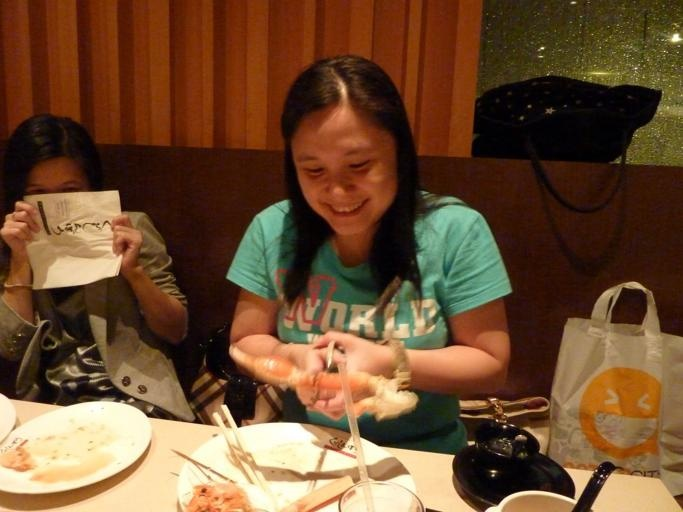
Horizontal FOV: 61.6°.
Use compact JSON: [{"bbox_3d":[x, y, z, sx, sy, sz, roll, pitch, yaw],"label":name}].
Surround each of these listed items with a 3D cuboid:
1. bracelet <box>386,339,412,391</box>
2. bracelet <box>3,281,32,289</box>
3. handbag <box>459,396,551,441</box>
[{"bbox_3d":[0.162,0.317,1.593,0.073,0.129,0.126,2,15,5],"label":"bracelet"},{"bbox_3d":[-1.125,0.103,1.999,0.098,0.023,0.019,1,15,1],"label":"bracelet"},{"bbox_3d":[0.623,0.592,2.147,0.335,0.087,0.261,-8,16,5],"label":"handbag"}]
